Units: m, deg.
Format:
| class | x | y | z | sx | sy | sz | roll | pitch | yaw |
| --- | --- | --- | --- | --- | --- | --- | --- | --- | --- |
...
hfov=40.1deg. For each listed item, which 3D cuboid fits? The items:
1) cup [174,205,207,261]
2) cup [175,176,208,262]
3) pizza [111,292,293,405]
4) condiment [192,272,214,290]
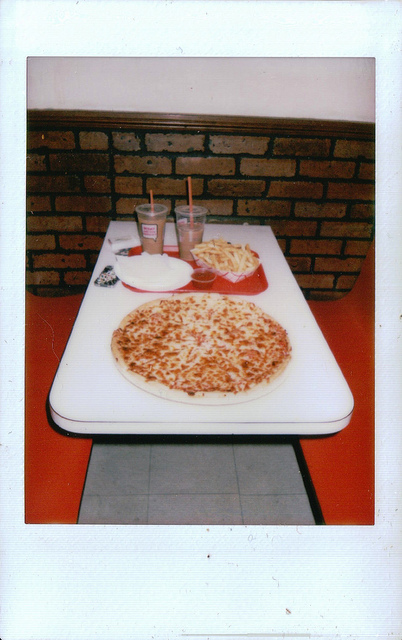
| class | x | y | z | sx | sy | sz | roll | pitch | yaw |
| --- | --- | --- | --- | --- | --- | --- | --- | --- | --- |
| cup | -0.027 | -0.257 | 1.688 | 0.105 | 0.147 | 0.109 | 3 | 12 | -1 |
| cup | -0.033 | -0.293 | 1.686 | 0.107 | 0.229 | 0.105 | 0 | 25 | 0 |
| pizza | 0.001 | 0.045 | 1.180 | 0.380 | 0.063 | 0.403 | -1 | 25 | 1 |
| condiment | 0.006 | -0.102 | 1.466 | 0.057 | 0.032 | 0.084 | -1 | 25 | 1 |
